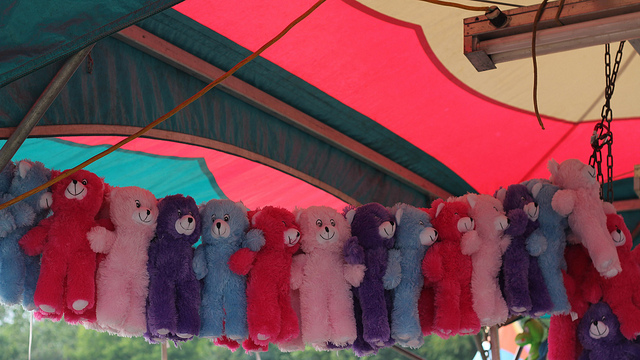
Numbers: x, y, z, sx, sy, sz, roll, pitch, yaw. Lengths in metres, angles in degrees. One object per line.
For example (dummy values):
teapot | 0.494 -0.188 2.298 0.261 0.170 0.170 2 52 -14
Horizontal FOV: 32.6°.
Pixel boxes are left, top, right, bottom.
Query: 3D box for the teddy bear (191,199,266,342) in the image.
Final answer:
teddy bear | -0.707 0.676 8.416 0.558 0.973 0.453 5 -28 -7

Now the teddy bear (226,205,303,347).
teddy bear | -0.384 0.706 8.381 0.708 0.932 0.349 8 -12 -43

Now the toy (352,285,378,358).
toy | 0.337 1.112 8.603 0.154 0.572 0.189 -7 -3 3

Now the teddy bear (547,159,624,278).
teddy bear | 2.099 0.251 8.508 0.333 0.860 0.617 -37 -25 28
